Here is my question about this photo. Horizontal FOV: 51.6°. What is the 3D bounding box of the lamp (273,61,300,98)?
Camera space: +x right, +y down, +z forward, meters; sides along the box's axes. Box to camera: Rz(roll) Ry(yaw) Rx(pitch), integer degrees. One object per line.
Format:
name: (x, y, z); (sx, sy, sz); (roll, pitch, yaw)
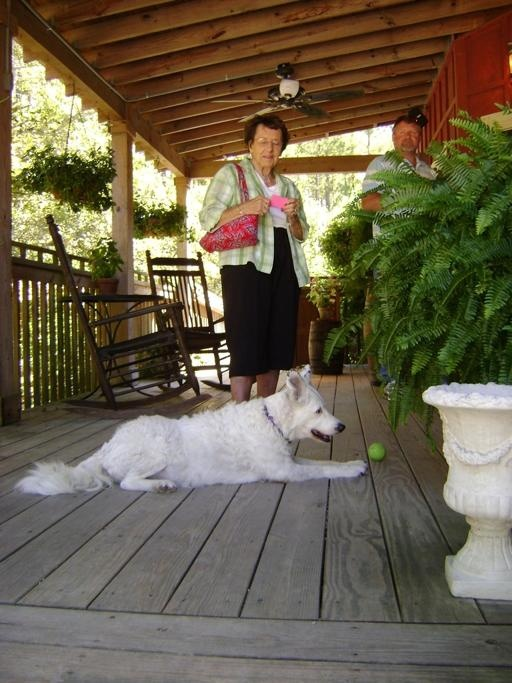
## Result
lamp: (0.311, -2.529, 5.075); (0.150, 0.344, 0.256); (-14, -14, 1)

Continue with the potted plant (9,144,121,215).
potted plant: (-1.473, -1.350, 4.503); (0.601, 0.348, 0.511); (-3, 13, 16)

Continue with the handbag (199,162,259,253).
handbag: (-0.137, -0.666, 2.591); (0.235, 0.424, 0.316); (-1, 0, -20)

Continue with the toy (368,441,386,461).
toy: (0.540, 0.484, 2.324); (0.080, 0.072, 0.072); (1, 6, -1)

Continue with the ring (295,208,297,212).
ring: (0.186, -0.613, 2.493); (0.013, 0.013, 0.012); (-2, 10, 0)

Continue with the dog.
dog: (-0.207, 0.371, 2.175); (1.306, 0.456, 0.439); (-7, 6, 14)

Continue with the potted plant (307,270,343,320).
potted plant: (0.774, -0.422, 6.025); (0.331, 0.373, 0.272); (-7, -5, -36)
